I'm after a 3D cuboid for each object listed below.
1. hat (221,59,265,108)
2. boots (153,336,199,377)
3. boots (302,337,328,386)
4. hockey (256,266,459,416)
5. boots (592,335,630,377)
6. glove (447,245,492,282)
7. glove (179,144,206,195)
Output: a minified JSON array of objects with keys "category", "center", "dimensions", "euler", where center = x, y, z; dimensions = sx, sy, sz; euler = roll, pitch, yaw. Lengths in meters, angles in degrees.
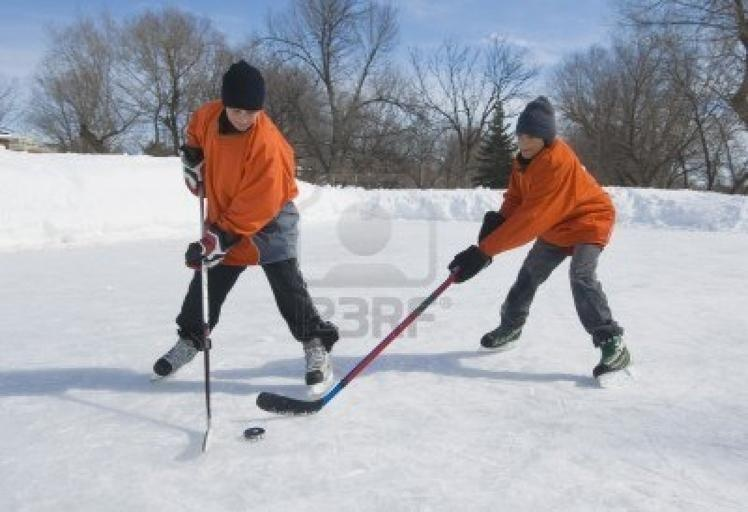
[{"category":"hat","center":[-1.246,-1.629,7.667],"dimensions":[0.439,0.448,0.461],"euler":[2,8,21]},{"category":"boots","center":[-1.905,0.970,7.888],"dimensions":[0.259,0.181,0.501],"euler":[36,47,11]},{"category":"boots","center":[-0.575,1.010,7.780],"dimensions":[0.159,0.231,0.523],"euler":[2,15,-5]},{"category":"hockey","center":[-0.190,0.906,8.331],"dimensions":[1.982,0.173,0.395],"euler":[-33,59,-13]},{"category":"boots","center":[2.267,0.961,7.806],"dimensions":[0.356,0.372,0.250],"euler":[3,18,8]},{"category":"glove","center":[0.911,0.096,7.960],"dimensions":[0.412,0.317,0.172],"euler":[-35,29,12]},{"category":"glove","center":[-1.799,-0.829,7.883],"dimensions":[0.303,0.432,0.226],"euler":[14,-8,-26]}]
